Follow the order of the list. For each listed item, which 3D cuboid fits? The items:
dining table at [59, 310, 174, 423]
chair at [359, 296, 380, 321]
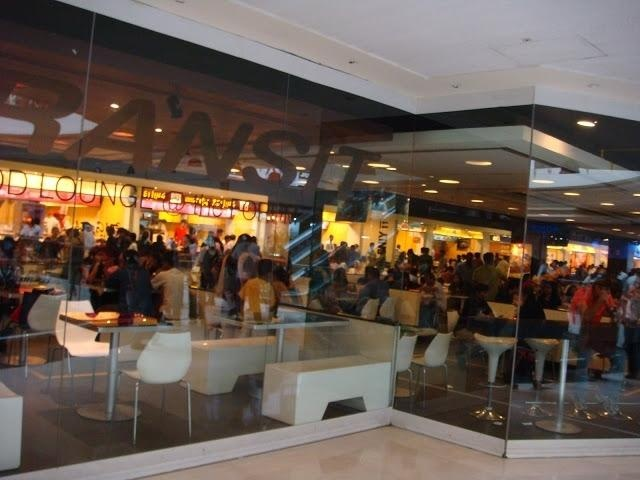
[{"bbox_3d":[-1.919,1.057,4.939,0.940,0.843,0.916,11,10,20],"label":"dining table"},{"bbox_3d":[0.618,0.861,6.456,0.257,0.285,0.225,-4,-18,19],"label":"chair"}]
